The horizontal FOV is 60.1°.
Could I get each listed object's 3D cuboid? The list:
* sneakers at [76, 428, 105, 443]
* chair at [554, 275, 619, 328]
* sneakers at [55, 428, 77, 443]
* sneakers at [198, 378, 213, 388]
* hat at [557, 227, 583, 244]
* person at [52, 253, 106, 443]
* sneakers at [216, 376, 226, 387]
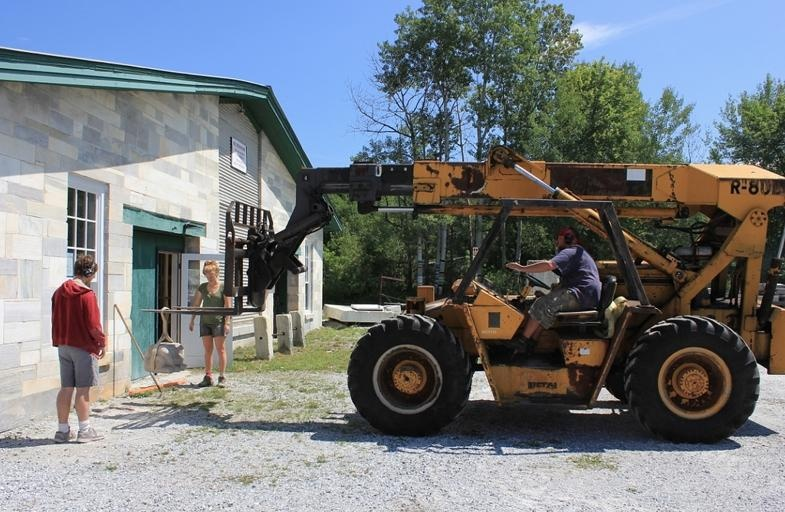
[{"bbox_3d":[-4.208,2.494,9.492,0.378,0.181,0.160,1,-1,-11],"label":"sneakers"},{"bbox_3d":[2.928,0.681,10.131,0.856,0.767,0.668,-1,-5,7],"label":"chair"},{"bbox_3d":[-4.525,2.486,9.455,0.345,0.163,0.128,1,1,-26],"label":"sneakers"},{"bbox_3d":[-3.378,2.286,12.294,0.224,0.240,0.148,2,-1,-2],"label":"sneakers"},{"bbox_3d":[2.692,-0.317,10.341,0.221,0.267,0.300,15,0,1],"label":"hat"},{"bbox_3d":[-4.374,1.274,9.468,0.670,2.500,0.407,-2,7,-25],"label":"person"},{"bbox_3d":[-3.112,2.269,12.388,0.165,0.288,0.162,2,6,12],"label":"sneakers"}]
